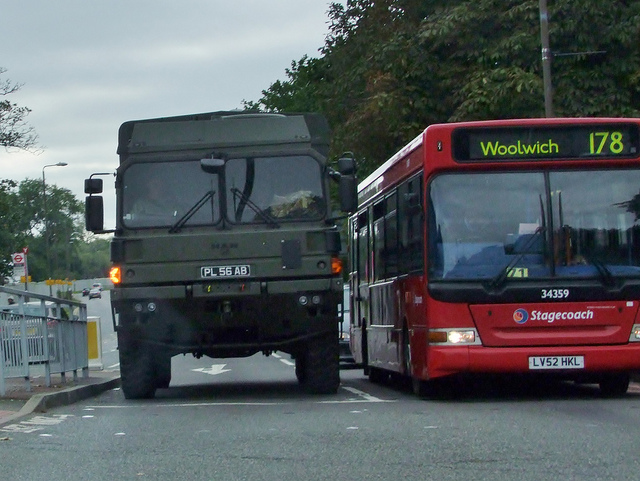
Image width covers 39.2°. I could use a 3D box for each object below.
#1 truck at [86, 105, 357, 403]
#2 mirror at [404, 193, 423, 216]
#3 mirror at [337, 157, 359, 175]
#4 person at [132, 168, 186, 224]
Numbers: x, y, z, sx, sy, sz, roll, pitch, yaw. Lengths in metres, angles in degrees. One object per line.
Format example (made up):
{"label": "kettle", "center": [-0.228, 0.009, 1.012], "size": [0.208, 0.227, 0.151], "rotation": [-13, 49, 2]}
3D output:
{"label": "truck", "center": [-1.434, 0.348, 16.389], "size": [2.788, 3.817, 5.472], "rotation": [-1, -9, -1]}
{"label": "mirror", "center": [1.331, -0.525, 13.047], "size": [0.181, 0.350, 0.308], "rotation": [1, 4, 13]}
{"label": "mirror", "center": [0.417, -1.153, 14.051], "size": [0.291, 0.262, 0.238], "rotation": [1, -7, -6]}
{"label": "person", "center": [-2.558, -0.619, 14.156], "size": [0.704, 0.840, 0.198], "rotation": [0, -13, 1]}
